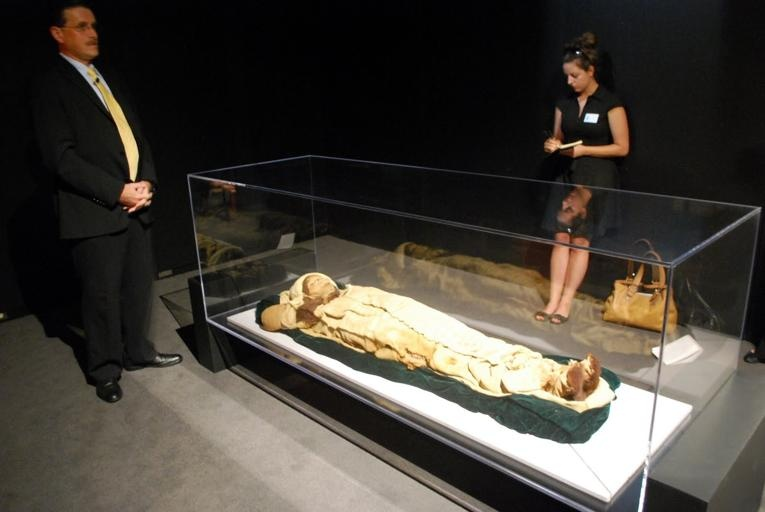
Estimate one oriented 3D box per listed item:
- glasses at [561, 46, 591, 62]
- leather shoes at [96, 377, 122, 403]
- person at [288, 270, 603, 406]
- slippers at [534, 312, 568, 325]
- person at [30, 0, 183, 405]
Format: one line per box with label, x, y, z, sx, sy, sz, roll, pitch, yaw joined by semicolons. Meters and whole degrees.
glasses;1.196;-1.224;3.138;0.175;0.086;0.073;11;25;18
leather shoes;-1.777;0.866;3.340;0.211;0.085;0.092;7;11;44
person;0.252;0.260;2.640;1.514;0.323;0.555;16;33;33
slippers;0.773;0.272;2.357;0.058;0.026;0.095;-6;10;-33
person;-1.729;-0.317;3.218;0.604;2.324;0.734;-8;26;-23
